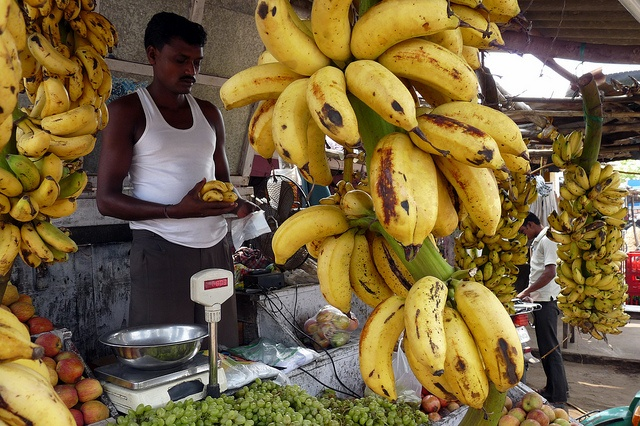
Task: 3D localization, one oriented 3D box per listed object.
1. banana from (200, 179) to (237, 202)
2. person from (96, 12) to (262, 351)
[{"bbox_3d":[-0.573,-0.121,2.731,0.163,0.121,0.066,-5,1,-36],"label":"banana"},{"bbox_3d":[-0.983,-0.150,3.098,0.946,2.270,0.799,-1,3,-40],"label":"person"}]
